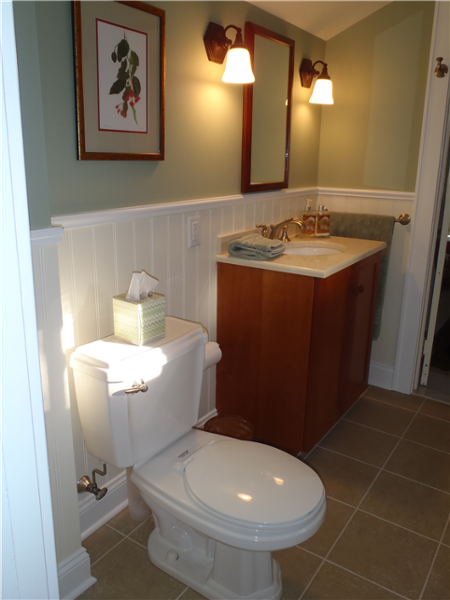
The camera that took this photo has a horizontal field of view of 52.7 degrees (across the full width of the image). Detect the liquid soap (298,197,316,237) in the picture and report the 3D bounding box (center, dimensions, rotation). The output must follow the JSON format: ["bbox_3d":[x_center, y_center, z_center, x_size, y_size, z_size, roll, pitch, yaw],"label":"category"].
[{"bbox_3d":[0.428,-0.429,2.345,0.068,0.194,0.074,-5,12,-17],"label":"liquid soap"}]

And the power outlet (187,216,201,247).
[{"bbox_3d":[-0.133,-0.279,1.822,0.014,0.114,0.087,8,21,22],"label":"power outlet"}]

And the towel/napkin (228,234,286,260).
[{"bbox_3d":[0.127,-0.227,1.945,0.132,0.059,0.151,8,24,22],"label":"towel/napkin"}]

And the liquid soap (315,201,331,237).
[{"bbox_3d":[0.507,-0.397,2.352,0.108,0.136,0.036,-12,18,-39],"label":"liquid soap"}]

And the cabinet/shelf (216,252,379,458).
[{"bbox_3d":[0.399,0.128,2.252,0.424,0.890,0.799,12,20,35],"label":"cabinet/shelf"}]

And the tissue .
[{"bbox_3d":[-0.265,0.015,1.373,0.099,0.222,0.113,13,20,35],"label":"tissue "}]

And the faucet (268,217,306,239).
[{"bbox_3d":[0.337,-0.378,2.318,0.078,0.117,0.271,15,26,24],"label":"faucet"}]

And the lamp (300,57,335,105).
[{"bbox_3d":[0.477,-1.129,2.335,0.139,0.246,0.128,9,10,34],"label":"lamp"}]

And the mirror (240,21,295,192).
[{"bbox_3d":[0.210,-0.889,2.144,0.021,0.703,0.430,12,21,33],"label":"mirror"}]

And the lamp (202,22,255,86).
[{"bbox_3d":[0.015,-0.945,1.727,0.152,0.238,0.138,9,11,36],"label":"lamp"}]
